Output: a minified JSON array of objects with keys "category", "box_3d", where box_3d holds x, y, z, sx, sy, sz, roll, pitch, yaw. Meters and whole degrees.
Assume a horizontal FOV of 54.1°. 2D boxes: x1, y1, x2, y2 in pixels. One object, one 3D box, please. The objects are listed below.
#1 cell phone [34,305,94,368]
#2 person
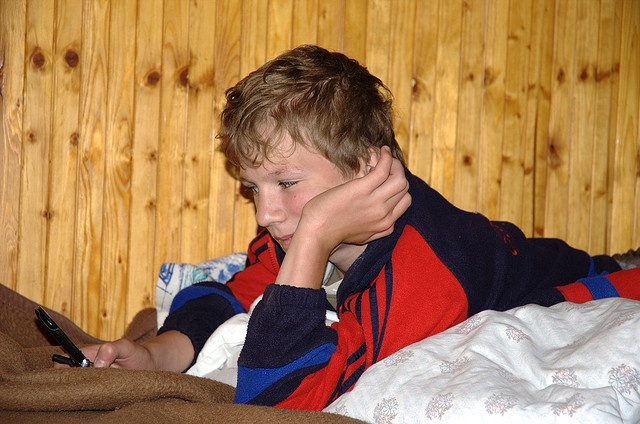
[{"category":"cell phone","box_3d":[-0.807,0.409,2.077,0.262,0.079,0.158,49,-12,-11]},{"category":"person","box_3d":[0.143,-0.004,2.384,2.028,0.969,1.016,-2,2,-21]}]
